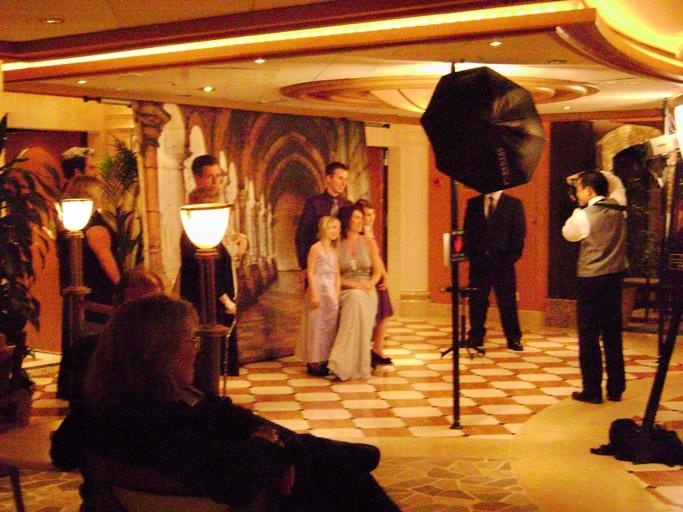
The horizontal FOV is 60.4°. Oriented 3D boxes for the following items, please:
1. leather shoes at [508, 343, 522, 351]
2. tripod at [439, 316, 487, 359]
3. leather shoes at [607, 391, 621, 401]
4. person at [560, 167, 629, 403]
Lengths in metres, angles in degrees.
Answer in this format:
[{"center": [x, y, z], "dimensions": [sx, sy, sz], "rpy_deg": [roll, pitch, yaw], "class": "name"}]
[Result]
[{"center": [2.371, 1.207, 7.936], "dimensions": [0.211, 0.120, 0.237], "rpy_deg": [1, 5, 14], "class": "leather shoes"}, {"center": [1.660, 1.135, 7.804], "dimensions": [0.669, 0.488, 0.634], "rpy_deg": [0, 2, 15], "class": "tripod"}, {"center": [2.677, 1.367, 5.761], "dimensions": [0.108, 0.101, 0.113], "rpy_deg": [-3, 0, -25], "class": "leather shoes"}, {"center": [2.466, 0.305, 5.689], "dimensions": [0.584, 2.255, 0.553], "rpy_deg": [2, 6, 25], "class": "person"}]
